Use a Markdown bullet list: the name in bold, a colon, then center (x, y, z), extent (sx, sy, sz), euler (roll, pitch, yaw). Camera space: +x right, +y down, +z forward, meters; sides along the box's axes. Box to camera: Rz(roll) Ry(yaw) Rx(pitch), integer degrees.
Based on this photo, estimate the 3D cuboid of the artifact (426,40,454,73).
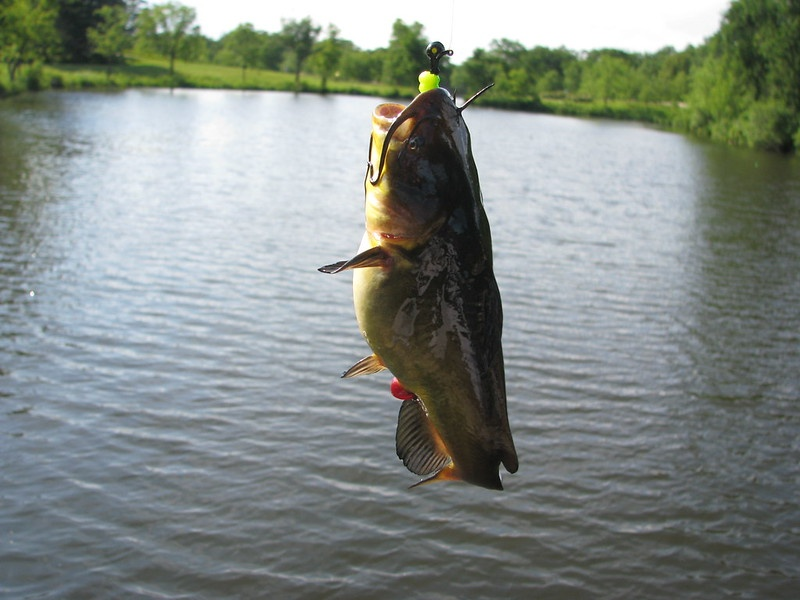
- **artifact**: center (0.466, -3.026, 13.190), extent (0.321, 0.376, 0.148), euler (8, 14, 11)
